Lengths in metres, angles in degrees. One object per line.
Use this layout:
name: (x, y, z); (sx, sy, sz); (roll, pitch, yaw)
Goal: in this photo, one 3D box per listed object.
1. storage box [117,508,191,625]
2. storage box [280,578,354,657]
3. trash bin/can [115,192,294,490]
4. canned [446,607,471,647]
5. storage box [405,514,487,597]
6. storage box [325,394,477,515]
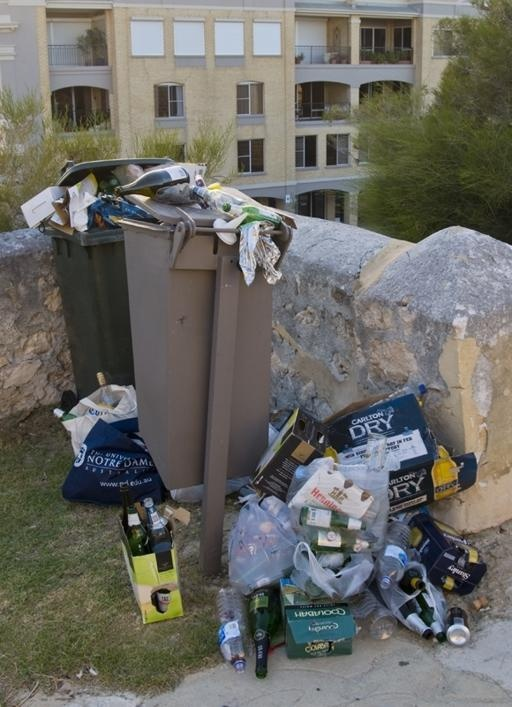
storage box: (-0.385, 0.794, 2.376); (0.184, 0.294, 0.314); (-12, 23, -10)
storage box: (0.210, 0.919, 2.231); (0.223, 0.166, 0.234); (-2, 15, -4)
trash bin/can: (-0.193, -0.046, 2.666); (0.521, 1.178, 0.562); (-8, 17, -25)
canned: (0.708, 0.947, 2.239); (0.083, 0.071, 0.138); (4, 15, 18)
storage box: (0.689, 0.777, 2.550); (0.246, 0.212, 0.329); (37, -1, -27)
storage box: (0.591, 0.443, 2.700); (0.395, 0.429, 0.274); (-20, 8, 35)
